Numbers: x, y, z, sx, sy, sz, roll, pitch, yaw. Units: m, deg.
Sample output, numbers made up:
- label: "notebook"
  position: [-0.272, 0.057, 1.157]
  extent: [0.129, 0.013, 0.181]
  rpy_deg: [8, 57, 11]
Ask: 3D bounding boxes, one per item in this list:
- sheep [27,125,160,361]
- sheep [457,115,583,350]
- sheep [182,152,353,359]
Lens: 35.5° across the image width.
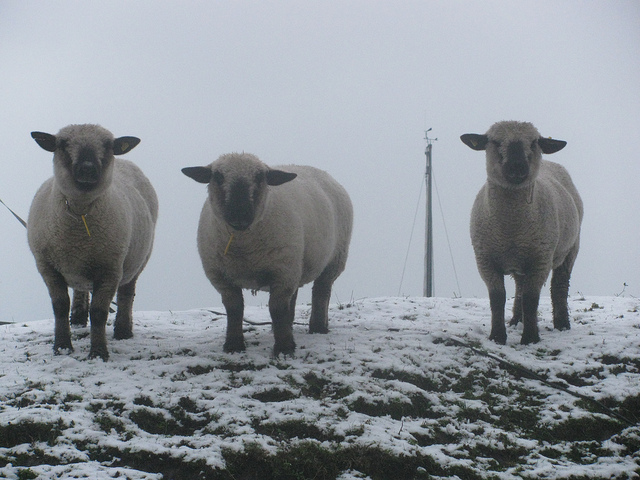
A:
- label: "sheep"
  position: [-3.302, 0.071, 15.074]
  extent: [1.395, 3.421, 2.180]
  rpy_deg: [-1, -4, 19]
- label: "sheep"
  position: [3.296, -0.061, 16.164]
  extent: [1.646, 3.594, 1.893]
  rpy_deg: [-1, -3, 14]
- label: "sheep"
  position: [-0.824, 0.250, 15.153]
  extent: [1.261, 3.051, 2.157]
  rpy_deg: [-3, -4, 42]
